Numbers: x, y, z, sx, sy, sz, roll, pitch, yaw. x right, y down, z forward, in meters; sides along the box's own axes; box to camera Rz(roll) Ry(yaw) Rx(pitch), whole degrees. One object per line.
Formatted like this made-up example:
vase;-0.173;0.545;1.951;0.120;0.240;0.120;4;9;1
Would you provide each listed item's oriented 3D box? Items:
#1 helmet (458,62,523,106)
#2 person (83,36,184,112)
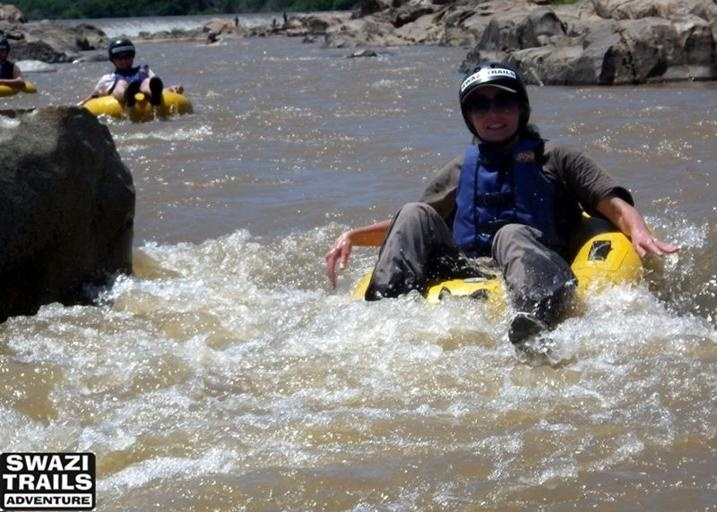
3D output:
helmet;1.126;-1.468;10.281;0.340;0.190;0.423;-6;10;8
person;-3.327;-2.613;17.863;1.215;1.191;0.899;-5;22;-13
